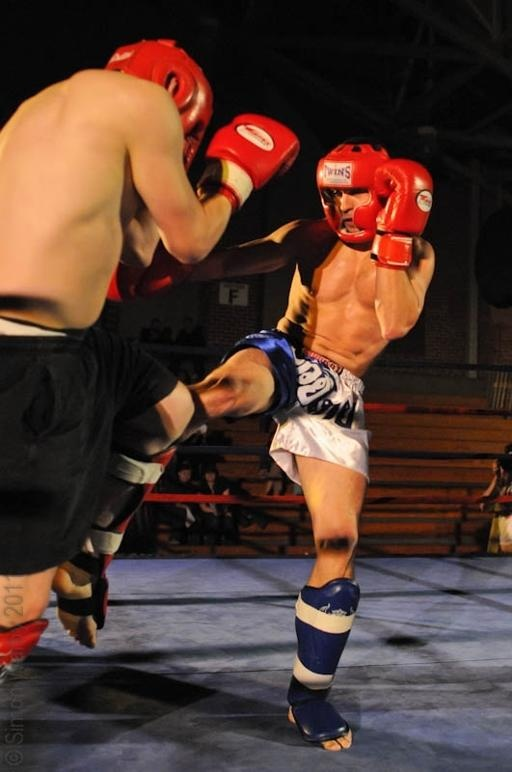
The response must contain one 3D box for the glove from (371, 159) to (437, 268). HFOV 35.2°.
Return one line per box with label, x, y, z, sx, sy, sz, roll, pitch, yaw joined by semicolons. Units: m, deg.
glove;0.377;-0.441;2.080;0.145;0.303;0.116;2;-5;9
